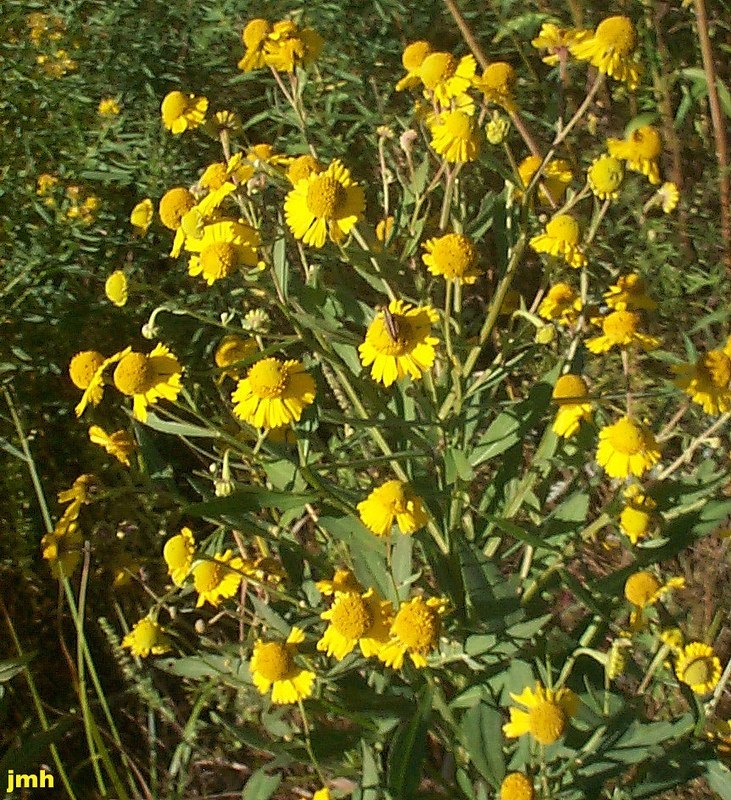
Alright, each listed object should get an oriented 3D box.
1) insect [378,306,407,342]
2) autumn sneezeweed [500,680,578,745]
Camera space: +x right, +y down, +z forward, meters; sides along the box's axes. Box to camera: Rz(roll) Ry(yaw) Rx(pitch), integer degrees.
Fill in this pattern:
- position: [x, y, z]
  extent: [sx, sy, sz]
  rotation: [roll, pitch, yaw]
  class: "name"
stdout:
- position: [0.039, -0.122, 1.221]
  extent: [0.028, 0.058, 0.023]
  rotation: [-25, -26, 30]
  class: "insect"
- position: [0.278, 0.483, 1.208]
  extent: [0.107, 0.034, 0.096]
  rotation: [-20, 36, -18]
  class: "autumn sneezeweed"
